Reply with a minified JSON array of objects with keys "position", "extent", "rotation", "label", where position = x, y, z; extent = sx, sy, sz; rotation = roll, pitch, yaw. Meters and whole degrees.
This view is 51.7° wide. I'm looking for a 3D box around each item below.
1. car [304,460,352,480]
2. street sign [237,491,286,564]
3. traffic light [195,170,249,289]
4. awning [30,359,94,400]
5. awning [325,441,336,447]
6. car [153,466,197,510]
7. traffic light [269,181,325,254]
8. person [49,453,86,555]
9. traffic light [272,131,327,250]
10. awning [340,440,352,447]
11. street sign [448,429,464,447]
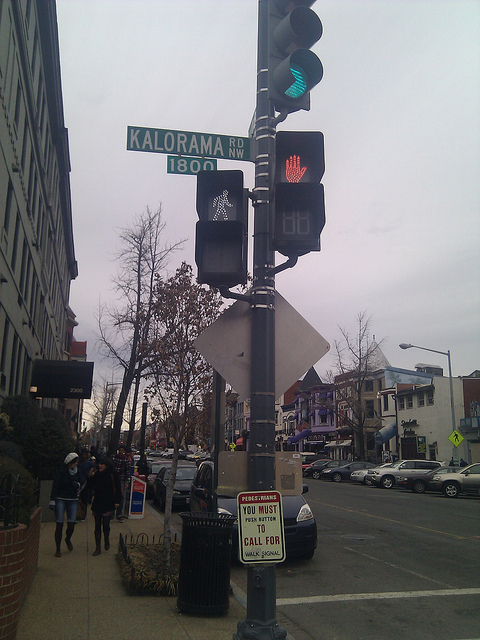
[{"position":[7.011,12.755,39.710],"extent":[3.472,1.856,1.853],"rotation":[0,-11,5],"label":"car"},{"position":[0.121,1.209,2.815],"extent":[0.256,0.050,0.477],"rotation":[-1,32,-1],"label":"street sign"},{"position":[-0.111,-0.606,2.977],"extent":[0.322,0.832,0.436],"rotation":[0,-11,-1],"label":"traffic light"},{"position":[-8.210,2.815,22.805],"extent":[3.237,2.016,1.026],"rotation":[-6,-13,22],"label":"awning"},{"position":[11.348,15.840,61.438],"extent":[0.584,0.685,2.875],"rotation":[2,-15,-10],"label":"awning"},{"position":[-2.320,6.042,17.492],"extent":[1.324,1.328,3.027],"rotation":[2,-14,-9],"label":"car"},{"position":[0.351,-0.633,3.091],"extent":[0.333,0.455,0.358],"rotation":[-1,-12,4],"label":"traffic light"},{"position":[-3.339,3.558,9.693],"extent":[0.581,1.716,3.064],"rotation":[3,-14,-16],"label":"person"},{"position":[0.363,-0.888,3.121],"extent":[0.334,0.952,0.441],"rotation":[-2,-11,9],"label":"traffic light"},{"position":[12.466,14.885,58.041],"extent":[0.610,0.803,2.068],"rotation":[3,-15,-15],"label":"awning"},{"position":[13.875,7.792,31.741],"extent":[0.896,0.955,0.634],"rotation":[12,-17,-43],"label":"street sign"}]
